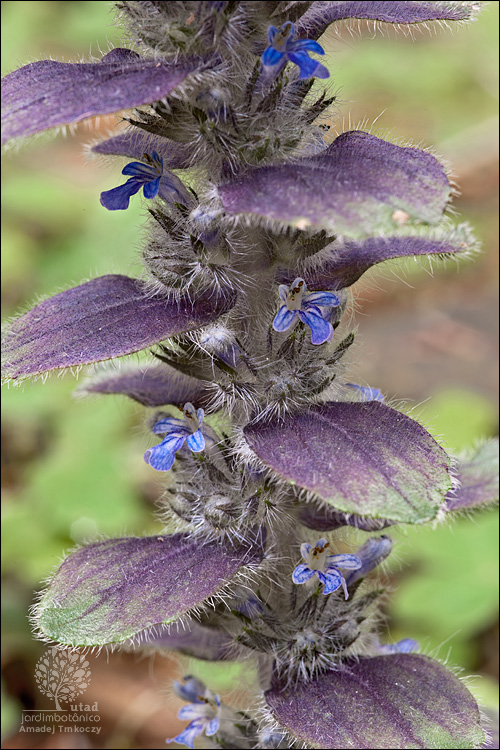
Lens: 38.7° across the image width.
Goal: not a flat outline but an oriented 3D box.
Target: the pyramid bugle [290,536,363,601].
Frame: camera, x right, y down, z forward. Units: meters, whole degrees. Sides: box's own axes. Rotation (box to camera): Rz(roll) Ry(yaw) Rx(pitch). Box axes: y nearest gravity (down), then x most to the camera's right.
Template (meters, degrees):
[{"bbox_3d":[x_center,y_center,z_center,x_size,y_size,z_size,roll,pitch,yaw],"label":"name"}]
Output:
[{"bbox_3d":[0.183,0.477,1.822,0.188,0.085,0.177,-6,2,-30],"label":"pyramid bugle"}]

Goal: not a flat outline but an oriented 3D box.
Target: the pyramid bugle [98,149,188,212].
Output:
[{"bbox_3d":[-0.256,-0.459,1.728,0.192,0.079,0.146,18,76,20],"label":"pyramid bugle"}]

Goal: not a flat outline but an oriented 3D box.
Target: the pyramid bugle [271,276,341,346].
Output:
[{"bbox_3d":[0.128,-0.145,1.695,0.179,0.175,0.154,-12,9,-8],"label":"pyramid bugle"}]
